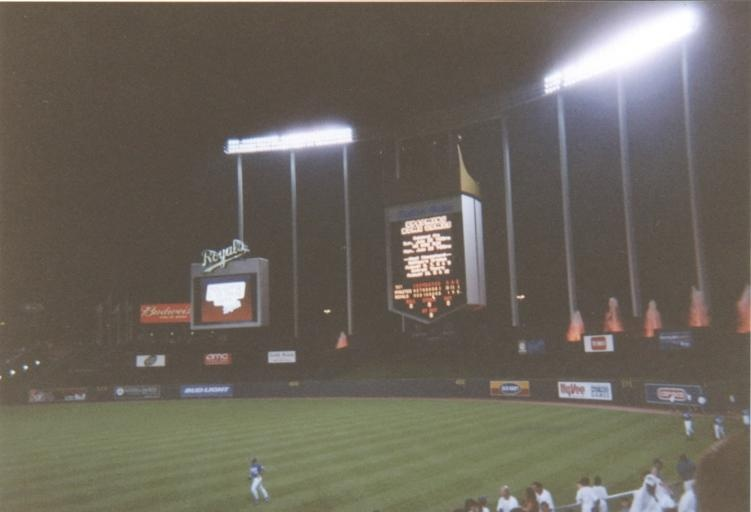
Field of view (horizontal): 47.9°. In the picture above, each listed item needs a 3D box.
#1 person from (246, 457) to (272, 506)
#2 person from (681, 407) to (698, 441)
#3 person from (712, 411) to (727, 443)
[{"bbox_3d":[-4.421,8.474,31.966,0.746,1.603,1.295,-2,-12,-9],"label":"person"},{"bbox_3d":[13.369,7.228,36.048,0.451,1.082,2.367,-8,-13,19],"label":"person"},{"bbox_3d":[14.386,7.202,35.336,0.484,1.155,0.864,3,-2,35],"label":"person"}]
